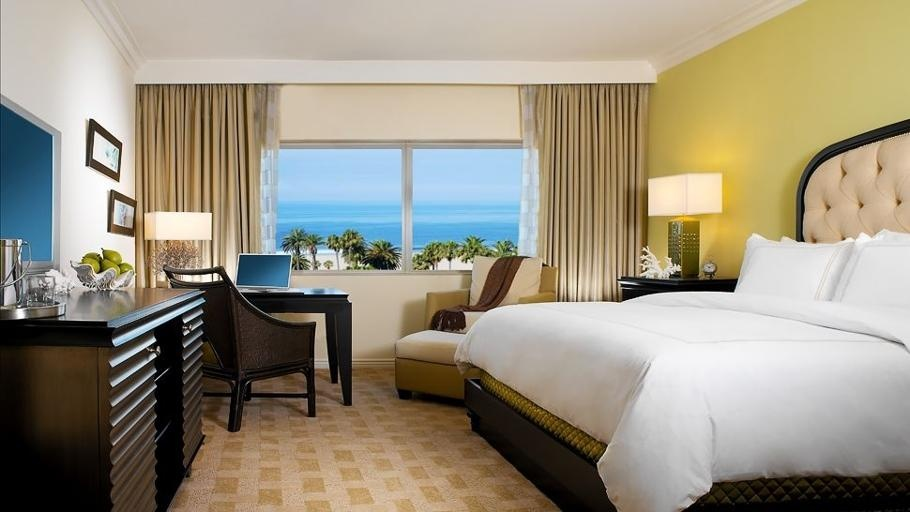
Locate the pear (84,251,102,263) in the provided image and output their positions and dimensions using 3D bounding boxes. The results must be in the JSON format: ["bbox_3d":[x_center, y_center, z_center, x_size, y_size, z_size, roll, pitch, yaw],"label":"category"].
[{"bbox_3d":[-2.706,0.011,4.167,0.120,0.073,0.069,17,20,-39],"label":"pear"}]

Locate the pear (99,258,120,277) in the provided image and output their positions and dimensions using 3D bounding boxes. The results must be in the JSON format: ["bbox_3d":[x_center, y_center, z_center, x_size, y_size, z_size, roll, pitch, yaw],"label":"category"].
[{"bbox_3d":[-2.400,0.080,3.868,0.095,0.119,0.056,-39,3,-20],"label":"pear"}]

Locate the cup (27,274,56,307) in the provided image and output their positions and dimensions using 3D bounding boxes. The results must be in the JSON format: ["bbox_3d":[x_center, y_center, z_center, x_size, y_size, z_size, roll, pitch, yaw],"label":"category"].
[{"bbox_3d":[-2.103,0.172,2.856,0.137,0.138,0.132,1,2,0],"label":"cup"}]

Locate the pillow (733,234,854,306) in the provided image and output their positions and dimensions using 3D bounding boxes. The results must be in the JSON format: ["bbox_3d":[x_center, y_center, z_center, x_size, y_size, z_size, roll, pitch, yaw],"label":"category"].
[{"bbox_3d":[2.403,0.094,4.008,0.166,0.531,0.570,32,-13,-30],"label":"pillow"}]

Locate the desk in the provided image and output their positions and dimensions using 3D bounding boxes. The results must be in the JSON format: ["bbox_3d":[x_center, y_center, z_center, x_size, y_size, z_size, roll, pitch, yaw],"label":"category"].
[{"bbox_3d":[-1.625,0.763,5.028,1.261,0.823,0.748,4,-7,-18],"label":"desk"}]

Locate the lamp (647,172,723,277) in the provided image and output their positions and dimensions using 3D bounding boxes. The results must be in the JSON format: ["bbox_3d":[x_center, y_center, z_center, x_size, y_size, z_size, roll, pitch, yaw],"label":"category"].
[{"bbox_3d":[2.289,-0.288,5.569,0.758,0.936,0.738,4,2,19],"label":"lamp"}]

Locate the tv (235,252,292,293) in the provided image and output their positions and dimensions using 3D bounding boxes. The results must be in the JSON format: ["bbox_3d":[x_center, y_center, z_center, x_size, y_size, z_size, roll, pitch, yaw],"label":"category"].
[{"bbox_3d":[-1.807,0.146,5.239,0.514,0.320,0.286,2,-6,-3],"label":"tv"}]

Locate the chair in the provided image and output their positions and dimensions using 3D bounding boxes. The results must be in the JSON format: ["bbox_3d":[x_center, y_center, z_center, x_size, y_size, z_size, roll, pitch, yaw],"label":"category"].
[{"bbox_3d":[-1.823,0.746,4.680,0.842,1.235,0.996,0,-2,34],"label":"chair"}]

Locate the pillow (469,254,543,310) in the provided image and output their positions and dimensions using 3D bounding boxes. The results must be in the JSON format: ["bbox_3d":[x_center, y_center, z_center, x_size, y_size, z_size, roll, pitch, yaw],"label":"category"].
[{"bbox_3d":[0.493,0.342,6.089,0.884,0.679,0.478,8,16,38],"label":"pillow"}]

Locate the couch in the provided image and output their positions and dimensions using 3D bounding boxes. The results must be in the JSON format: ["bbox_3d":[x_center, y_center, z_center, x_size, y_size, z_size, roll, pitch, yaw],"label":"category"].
[{"bbox_3d":[0.260,0.704,5.480,1.475,1.358,1.144,-5,5,-45],"label":"couch"}]
